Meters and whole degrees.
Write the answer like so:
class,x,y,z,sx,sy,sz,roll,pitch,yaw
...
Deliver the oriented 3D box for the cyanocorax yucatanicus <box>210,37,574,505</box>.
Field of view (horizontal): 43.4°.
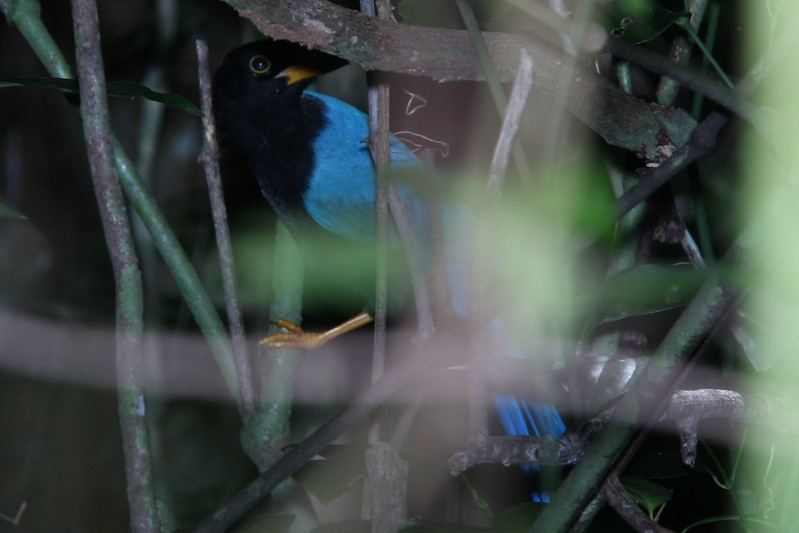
class,x,y,z,sx,sy,sz,roll,pitch,yaw
cyanocorax yucatanicus,0.034,-0.011,2.147,0.939,0.978,0.366,17,42,11
